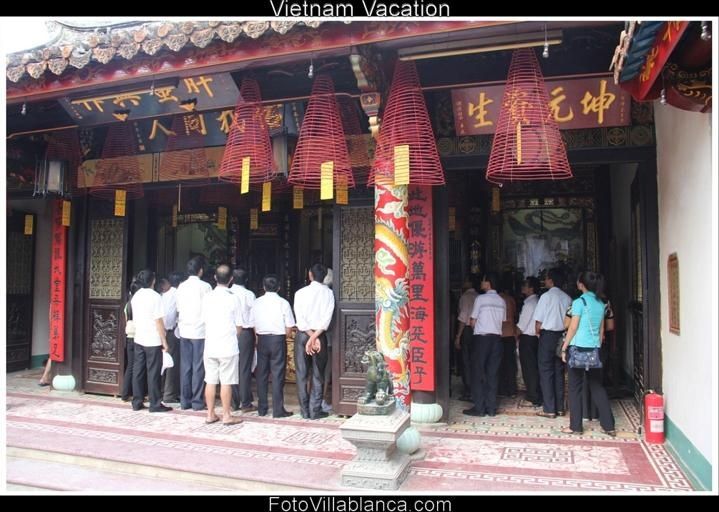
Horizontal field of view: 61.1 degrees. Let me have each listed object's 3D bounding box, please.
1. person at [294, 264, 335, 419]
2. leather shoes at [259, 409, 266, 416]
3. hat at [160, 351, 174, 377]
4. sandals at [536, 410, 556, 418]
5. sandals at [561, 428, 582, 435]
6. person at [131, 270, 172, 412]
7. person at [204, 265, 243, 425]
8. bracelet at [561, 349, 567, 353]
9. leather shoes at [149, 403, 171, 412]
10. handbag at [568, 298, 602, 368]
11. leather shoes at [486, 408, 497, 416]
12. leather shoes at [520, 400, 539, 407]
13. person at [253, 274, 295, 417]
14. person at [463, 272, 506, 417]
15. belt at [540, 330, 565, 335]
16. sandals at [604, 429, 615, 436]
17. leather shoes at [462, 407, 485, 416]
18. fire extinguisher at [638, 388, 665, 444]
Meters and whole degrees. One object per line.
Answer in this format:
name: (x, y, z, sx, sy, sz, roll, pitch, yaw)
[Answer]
person: (-0.563, 1.083, 7.723, 0.511, 1.890, 0.436, -5, 7, -38)
leather shoes: (-1.230, 1.993, 7.742, 0.116, 0.080, 0.130, -1, 5, -9)
hat: (-2.588, 1.440, 8.143, 0.081, 0.176, 0.456, 32, -8, -2)
sandals: (2.374, 1.999, 7.706, 0.212, 0.071, 0.082, 5, -2, 12)
sandals: (2.468, 2.034, 7.076, 0.198, 0.048, 0.079, -5, -6, 36)
person: (-2.765, 1.121, 7.934, 0.397, 1.814, 0.459, -4, 7, -36)
person: (-1.676, 1.088, 7.470, 0.459, 1.897, 0.466, -1, 6, -11)
bracelet: (2.414, 1.124, 7.166, 0.066, 0.029, 0.086, -2, -7, 8)
leather shoes: (-2.595, 1.972, 7.930, 0.259, 0.157, 0.097, -1, -3, -32)
handbag: (2.621, 0.885, 7.047, 0.365, 0.893, 0.309, 2, 6, 18)
leather shoes: (1.697, 1.985, 7.741, 0.147, 0.091, 0.137, 0, 5, 5)
leather shoes: (2.291, 2.018, 8.242, 0.245, 0.096, 0.088, 5, -2, 27)
person: (-1.098, 1.163, 7.868, 0.527, 1.785, 0.676, -1, 6, -9)
person: (1.640, 1.266, 7.978, 0.493, 1.570, 0.716, 1, 6, 12)
belt: (2.430, 0.971, 7.637, 0.288, 0.084, 0.055, 1, 6, 7)
sandals: (2.889, 2.037, 6.990, 0.128, 0.049, 0.046, 5, -2, 35)
leather shoes: (1.467, 2.008, 7.817, 0.212, 0.076, 0.108, 4, -6, 15)
fire extinguisher: (3.281, 1.790, 6.764, 0.210, 0.544, 0.262, 2, 6, 17)
